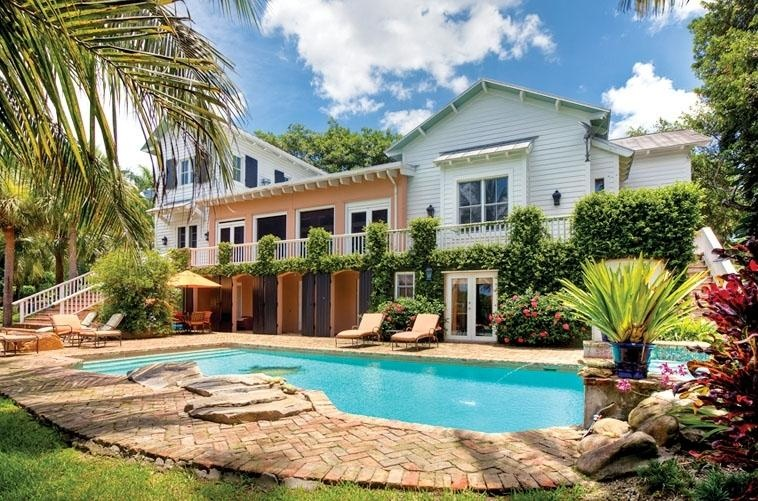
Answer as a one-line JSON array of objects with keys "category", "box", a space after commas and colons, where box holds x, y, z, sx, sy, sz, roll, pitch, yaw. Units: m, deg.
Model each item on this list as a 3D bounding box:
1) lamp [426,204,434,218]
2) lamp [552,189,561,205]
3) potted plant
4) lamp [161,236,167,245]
[{"category": "lamp", "box": [2.044, -1.571, 22.209, 0.323, 0.436, 0.677, 0, 5, 4]}, {"category": "lamp", "box": [6.378, -1.887, 20.127, 0.303, 0.532, 0.206, 1, 6, 16]}, {"category": "potted plant", "box": [4.470, 1.346, 9.670, 2.247, 2.097, 2.336, -2, -1, 15]}, {"category": "lamp", "box": [-12.045, -0.538, 31.521, 0.428, 0.632, 0.441, 1, -1, -16]}]
